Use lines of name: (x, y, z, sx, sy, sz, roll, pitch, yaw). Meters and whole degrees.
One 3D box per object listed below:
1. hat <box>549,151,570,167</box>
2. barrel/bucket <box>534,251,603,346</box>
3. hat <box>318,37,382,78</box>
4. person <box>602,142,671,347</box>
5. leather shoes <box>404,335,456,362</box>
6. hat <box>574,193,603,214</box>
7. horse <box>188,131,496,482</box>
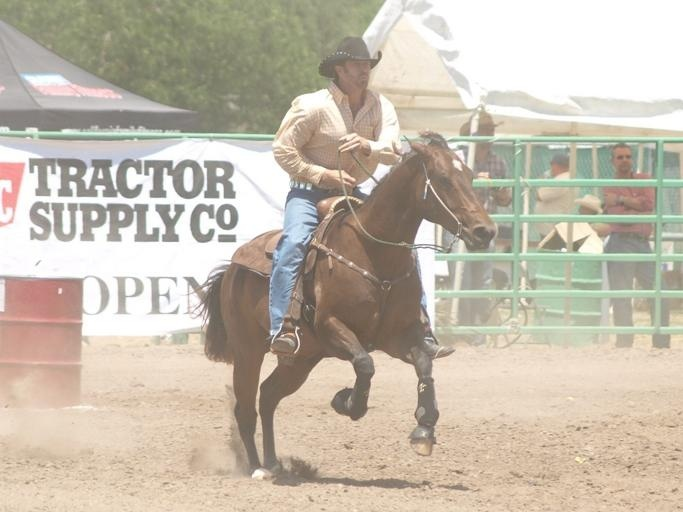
hat: (3.099, -1.383, 21.330, 0.227, 0.210, 0.180, 4, 13, 21)
barrel/bucket: (3.185, 0.662, 21.109, 0.937, 1.185, 0.639, 1, -2, 9)
hat: (0.085, -2.187, 16.352, 0.662, 0.493, 0.388, 1, -2, -1)
person: (4.077, -0.138, 20.902, 0.881, 2.850, 0.565, 1, -2, 8)
leather shoes: (0.882, 1.014, 16.203, 0.669, 0.289, 0.216, -6, 4, -7)
hat: (3.441, -0.700, 20.803, 0.341, 0.131, 0.235, 20, 8, -33)
horse: (-0.125, 0.817, 16.930, 1.549, 3.489, 5.114, 4, -11, -37)
